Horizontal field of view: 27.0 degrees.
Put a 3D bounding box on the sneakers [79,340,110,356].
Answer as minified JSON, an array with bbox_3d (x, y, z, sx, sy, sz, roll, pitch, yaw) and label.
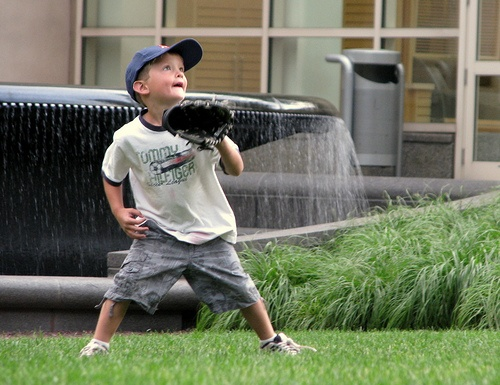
[{"bbox_3d":[-1.117,1.133,7.451,0.168,0.123,0.093,22,-30,-11],"label":"sneakers"}]

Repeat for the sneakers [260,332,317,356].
[{"bbox_3d":[0.288,1.101,7.695,0.447,0.214,0.161,1,6,4],"label":"sneakers"}]
